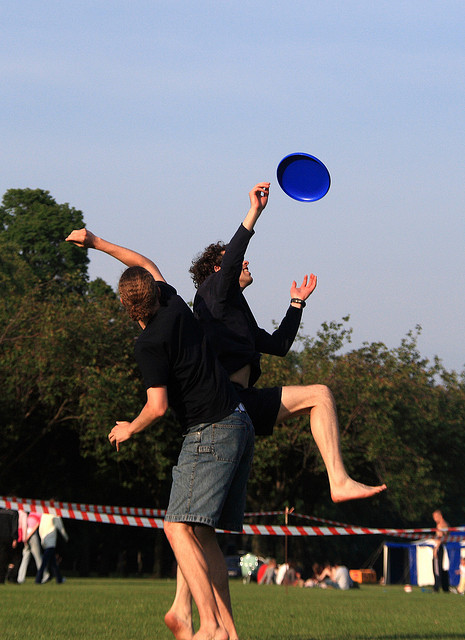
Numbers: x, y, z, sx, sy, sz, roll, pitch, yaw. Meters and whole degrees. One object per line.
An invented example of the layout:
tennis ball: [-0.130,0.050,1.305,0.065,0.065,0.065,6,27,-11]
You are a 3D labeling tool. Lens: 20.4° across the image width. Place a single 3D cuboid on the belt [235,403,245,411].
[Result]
belt: [0.055,0.752,11.112,0.012,0.046,0.046,8,32,-44]
